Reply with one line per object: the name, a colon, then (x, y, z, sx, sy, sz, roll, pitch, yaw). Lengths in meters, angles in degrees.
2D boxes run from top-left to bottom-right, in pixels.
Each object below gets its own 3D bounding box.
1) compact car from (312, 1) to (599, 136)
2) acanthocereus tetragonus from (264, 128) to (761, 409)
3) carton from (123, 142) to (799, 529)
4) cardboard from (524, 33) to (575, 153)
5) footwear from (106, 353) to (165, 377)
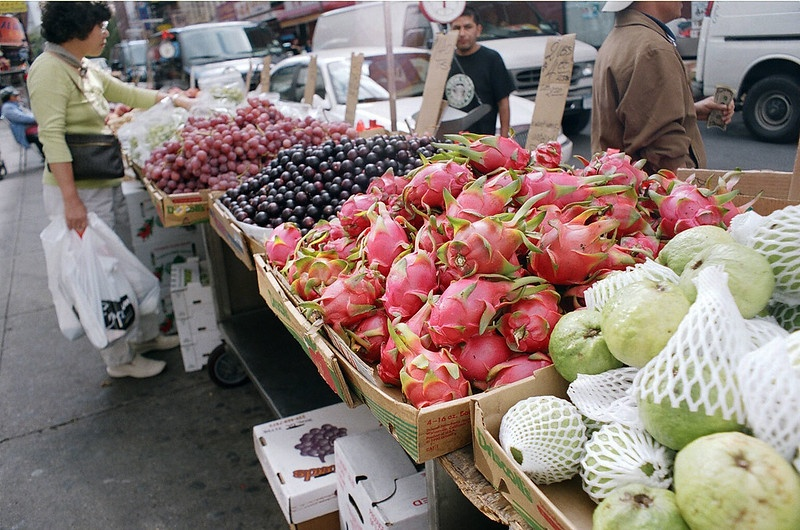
compact car: (0.690, -2.668, 8.257, 3.740, 1.963, 2.042, 28, 46, 35)
acanthocereus tetragonus: (0.395, -0.103, 1.983, 1.373, 0.429, 1.028, -35, 33, -10)
carton: (0.143, 0.267, 2.154, 1.175, 0.907, 1.793, -20, 30, -27)
cardboard: (0.808, -0.905, 3.011, 0.172, 0.727, 0.012, 8, -13, 24)
footwear: (-2.039, 0.777, 4.387, 0.380, 0.165, 0.183, -4, 11, -8)
